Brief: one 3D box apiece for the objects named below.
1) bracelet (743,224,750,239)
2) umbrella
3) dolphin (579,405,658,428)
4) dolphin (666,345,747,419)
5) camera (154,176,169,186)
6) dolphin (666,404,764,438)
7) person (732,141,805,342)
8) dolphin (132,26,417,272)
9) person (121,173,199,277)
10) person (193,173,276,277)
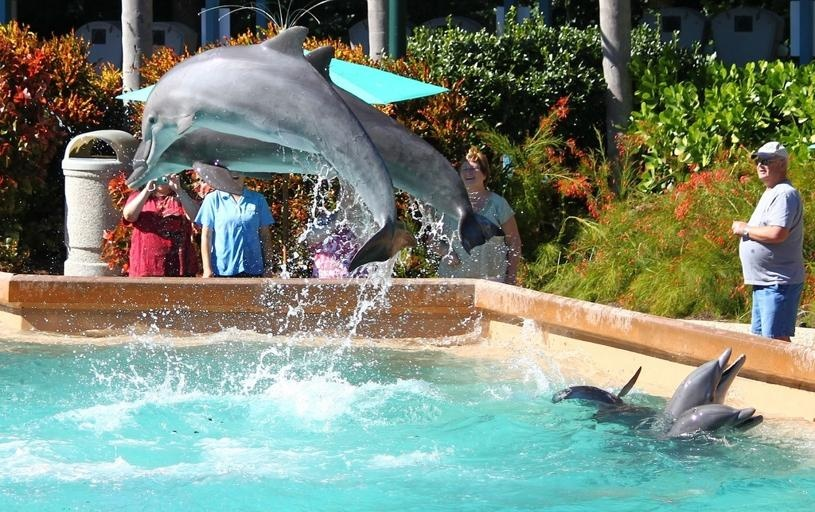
[{"bbox_3d":[3.534,-0.254,9.825,0.043,0.128,0.093,1,-20,7],"label":"bracelet"},{"bbox_3d":[-0.595,-1.138,8.948,3.741,1.711,1.454,11,12,26],"label":"umbrella"},{"bbox_3d":[2.088,1.542,9.018,0.368,0.100,0.242,2,21,27],"label":"dolphin"},{"bbox_3d":[2.808,1.137,8.963,0.557,0.778,0.676,0,-2,2],"label":"dolphin"},{"bbox_3d":[-2.714,-0.847,10.422,0.125,0.067,0.165,-5,-4,-34],"label":"camera"},{"bbox_3d":[2.835,1.549,8.716,0.817,0.334,0.130,4,6,4],"label":"dolphin"},{"bbox_3d":[3.875,-0.097,9.971,0.872,2.143,0.720,-1,1,-22],"label":"person"},{"bbox_3d":[-1.265,-1.132,8.730,3.055,1.755,1.418,21,15,26],"label":"dolphin"},{"bbox_3d":[-2.947,-0.313,11.239,0.892,1.431,0.698,0,-9,-19],"label":"person"},{"bbox_3d":[-1.997,-0.427,11.128,0.828,1.027,0.540,-4,37,-14],"label":"person"}]
